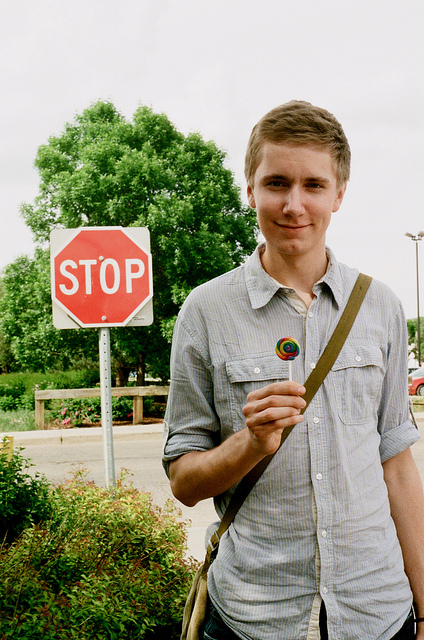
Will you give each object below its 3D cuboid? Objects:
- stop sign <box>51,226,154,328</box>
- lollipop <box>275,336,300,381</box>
[{"bbox_3d":[-0.647,-0.255,4.170,0.693,0.555,0.090,-2,4,-11],"label":"stop sign"},{"bbox_3d":[0.216,0.087,2.048,0.063,0.074,0.040,-1,-3,0],"label":"lollipop"}]
